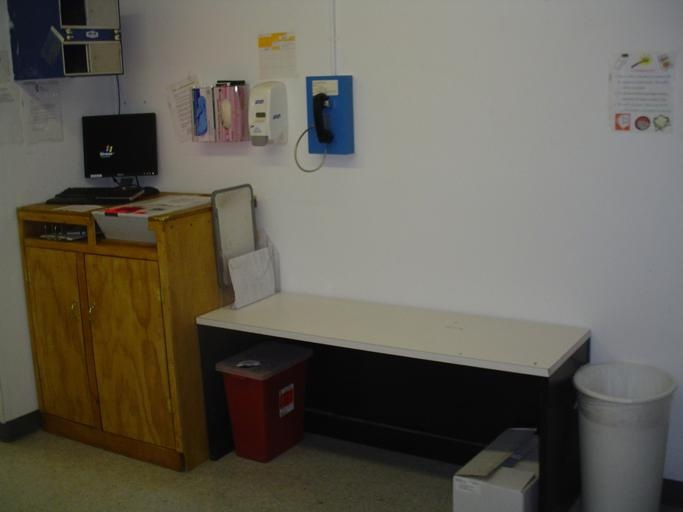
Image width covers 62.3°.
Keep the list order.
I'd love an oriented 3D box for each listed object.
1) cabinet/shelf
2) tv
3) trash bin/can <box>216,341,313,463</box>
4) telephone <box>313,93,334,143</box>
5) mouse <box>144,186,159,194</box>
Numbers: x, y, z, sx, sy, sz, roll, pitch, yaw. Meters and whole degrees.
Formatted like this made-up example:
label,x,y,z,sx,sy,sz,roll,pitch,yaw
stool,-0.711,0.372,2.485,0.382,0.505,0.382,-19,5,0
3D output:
label,x,y,z,sx,sy,sz,roll,pitch,yaw
cabinet/shelf,-1.335,0.398,3.682,1.281,1.490,0.775,4,12,27
tv,-1.462,-0.734,3.731,0.415,0.399,0.048,-3,11,-1
trash bin/can,-0.378,0.778,3.487,0.499,0.740,0.713,3,8,28
telephone,-0.097,-0.755,3.110,0.108,0.279,0.069,-2,14,-3
mouse,-1.228,-0.429,3.660,0.065,0.038,0.115,3,2,-15
